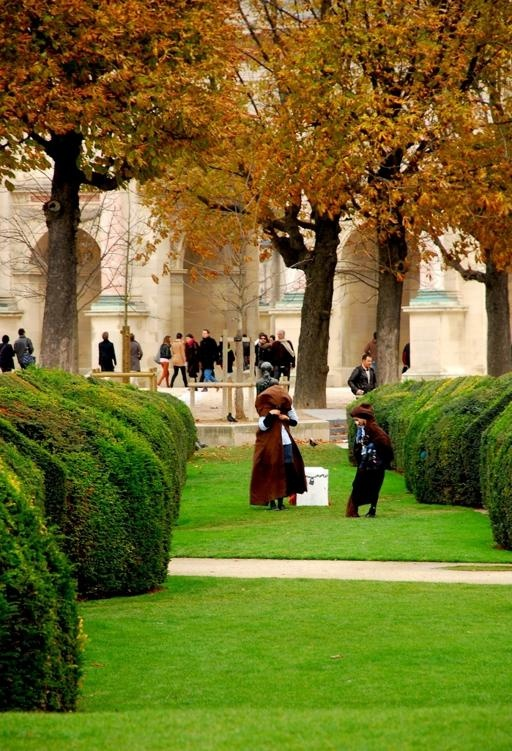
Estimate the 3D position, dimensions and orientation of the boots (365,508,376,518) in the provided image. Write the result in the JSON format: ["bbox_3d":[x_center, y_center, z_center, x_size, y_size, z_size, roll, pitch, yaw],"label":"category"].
[{"bbox_3d":[1.028,1.281,14.474,0.052,0.117,0.115,12,-11,-31],"label":"boots"}]

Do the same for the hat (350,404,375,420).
[{"bbox_3d":[0.938,0.348,14.457,0.134,0.128,0.182,7,-10,-32],"label":"hat"}]

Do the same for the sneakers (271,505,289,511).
[{"bbox_3d":[0.185,1.299,15.334,0.055,0.067,0.152,3,-10,-20],"label":"sneakers"}]

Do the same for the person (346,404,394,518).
[{"bbox_3d":[1.005,0.802,14.502,0.386,1.043,0.456,2,-4,1],"label":"person"}]

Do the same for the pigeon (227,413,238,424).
[{"bbox_3d":[-0.395,0.654,23.307,0.101,0.169,0.173,-3,0,38],"label":"pigeon"}]

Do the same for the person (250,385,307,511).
[{"bbox_3d":[0.201,0.707,15.360,0.559,1.221,0.421,3,-4,-18],"label":"person"}]

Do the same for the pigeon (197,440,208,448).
[{"bbox_3d":[-0.780,0.981,22.035,0.134,0.122,0.269,2,-5,-2],"label":"pigeon"}]

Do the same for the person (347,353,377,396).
[{"bbox_3d":[1.529,0.004,23.248,0.384,0.719,1.327,1,-5,4],"label":"person"}]
